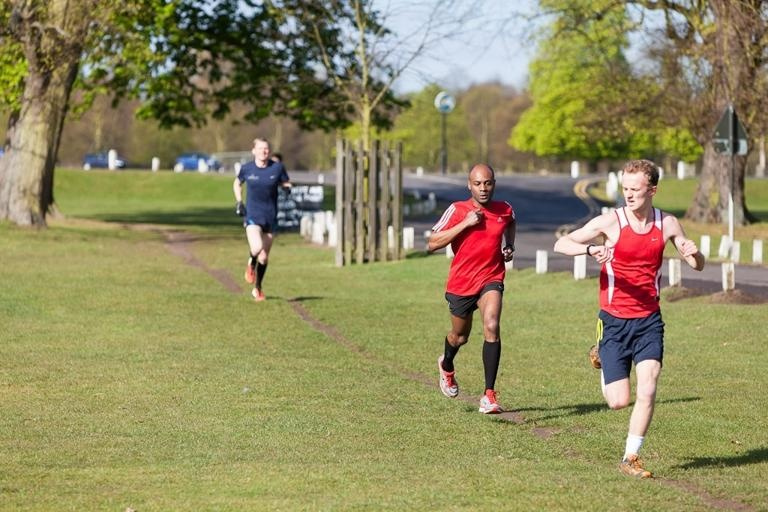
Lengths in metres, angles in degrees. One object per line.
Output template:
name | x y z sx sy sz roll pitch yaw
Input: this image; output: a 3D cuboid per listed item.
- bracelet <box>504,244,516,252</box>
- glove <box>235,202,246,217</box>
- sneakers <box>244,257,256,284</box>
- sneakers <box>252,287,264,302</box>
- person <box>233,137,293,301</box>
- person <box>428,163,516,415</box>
bracelet | 2.041 -0.153 23.398 0.157 0.169 0.387 2 6 10
glove | -2.883 -0.925 28.033 0.226 0.295 0.274 4 15 15
sneakers | -2.695 0.275 28.935 0.239 0.585 0.207 6 6 38
sneakers | -2.570 0.754 28.846 0.200 0.303 0.121 -43 13 -17
person | -2.434 -0.742 28.303 1.063 3.180 0.977 0 1 -8
person | 1.464 0.531 23.356 1.289 4.079 1.087 0 1 5
